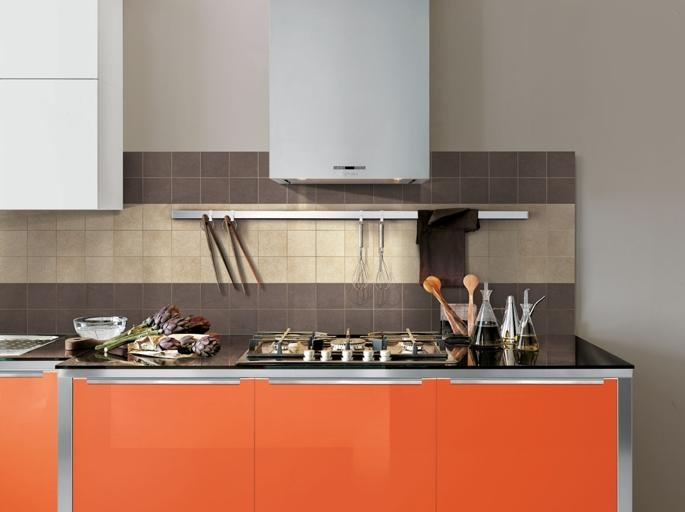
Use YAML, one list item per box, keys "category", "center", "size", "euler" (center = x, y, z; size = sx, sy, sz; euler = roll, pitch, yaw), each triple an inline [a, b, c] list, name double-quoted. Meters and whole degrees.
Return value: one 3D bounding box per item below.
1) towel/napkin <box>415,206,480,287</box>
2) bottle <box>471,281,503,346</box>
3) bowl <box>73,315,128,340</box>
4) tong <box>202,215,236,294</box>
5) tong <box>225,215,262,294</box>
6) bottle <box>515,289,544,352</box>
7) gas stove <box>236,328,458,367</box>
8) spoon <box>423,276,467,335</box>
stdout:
- category: "towel/napkin"
  center: [0.572, -0.053, 4.231]
  size: [0.425, 0.519, 0.093]
  euler: [0, -3, 0]
- category: "bottle"
  center: [0.736, 0.303, 3.915]
  size: [0.131, 0.304, 0.145]
  euler: [3, 7, 43]
- category: "bowl"
  center: [-1.263, 0.373, 4.061]
  size: [0.248, 0.110, 0.325]
  euler: [-3, 5, -17]
- category: "tong"
  center: [-0.687, -0.005, 4.353]
  size: [0.136, 0.480, 0.053]
  euler: [-16, 2, -4]
- category: "tong"
  center: [-0.552, -0.013, 4.341]
  size: [0.145, 0.501, 0.043]
  euler: [-18, 0, -1]
- category: "bottle"
  center: [0.983, 0.308, 4.050]
  size: [0.110, 0.292, 0.497]
  euler: [0, 5, 19]
- category: "gas stove"
  center: [0.070, 0.449, 3.913]
  size: [1.140, 0.105, 0.511]
  euler: [-1, 5, 1]
- category: "spoon"
  center: [0.547, 0.274, 4.106]
  size: [0.117, 0.443, 0.060]
  euler: [-23, -13, 6]
